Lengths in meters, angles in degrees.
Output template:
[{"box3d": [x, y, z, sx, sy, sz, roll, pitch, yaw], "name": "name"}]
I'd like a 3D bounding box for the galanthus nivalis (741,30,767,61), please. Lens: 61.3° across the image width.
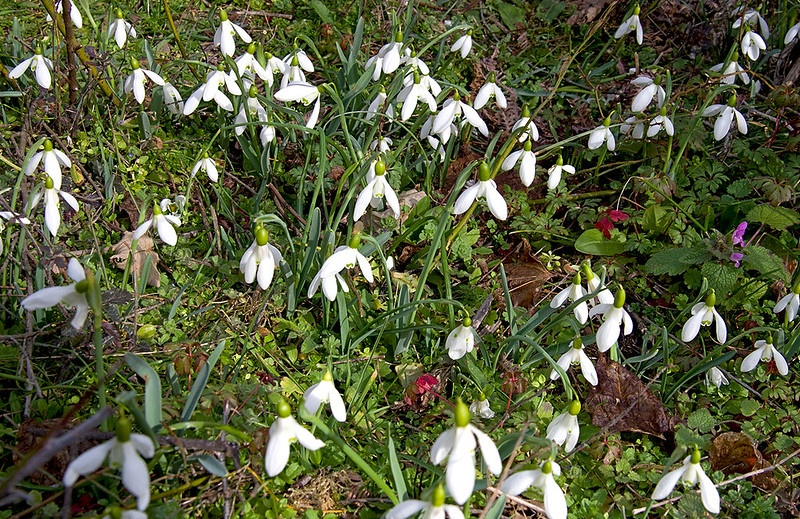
[{"box3d": [1.903, -1.169, 3.661, 0.139, 0.054, 0.202, -7, 87, -4], "name": "galanthus nivalis"}]
